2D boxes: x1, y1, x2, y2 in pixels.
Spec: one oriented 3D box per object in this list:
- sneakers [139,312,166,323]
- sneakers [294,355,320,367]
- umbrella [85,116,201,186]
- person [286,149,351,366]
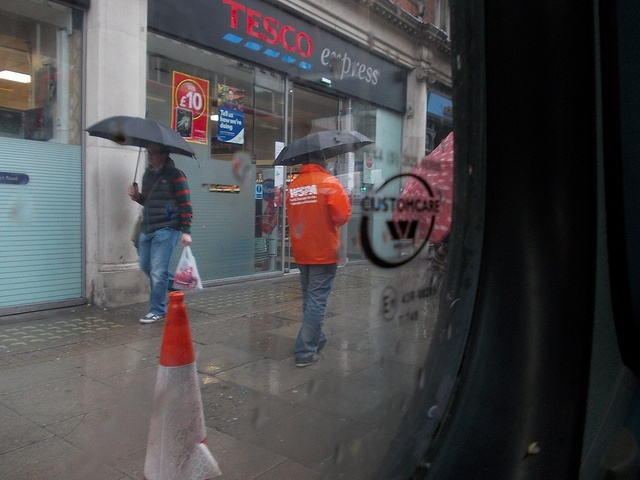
[{"bbox_3d":[-1.651,0.776,4.723,0.293,0.131,0.113,5,-10,-13],"label":"sneakers"},{"bbox_3d":[-0.100,0.914,3.641,0.190,0.085,0.087,-7,8,-39],"label":"sneakers"},{"bbox_3d":[-1.480,-0.816,3.891,0.619,0.396,0.646,13,0,-8],"label":"umbrella"},{"bbox_3d":[-0.036,0.217,3.541,0.343,1.551,0.732,-3,11,-14],"label":"person"}]
